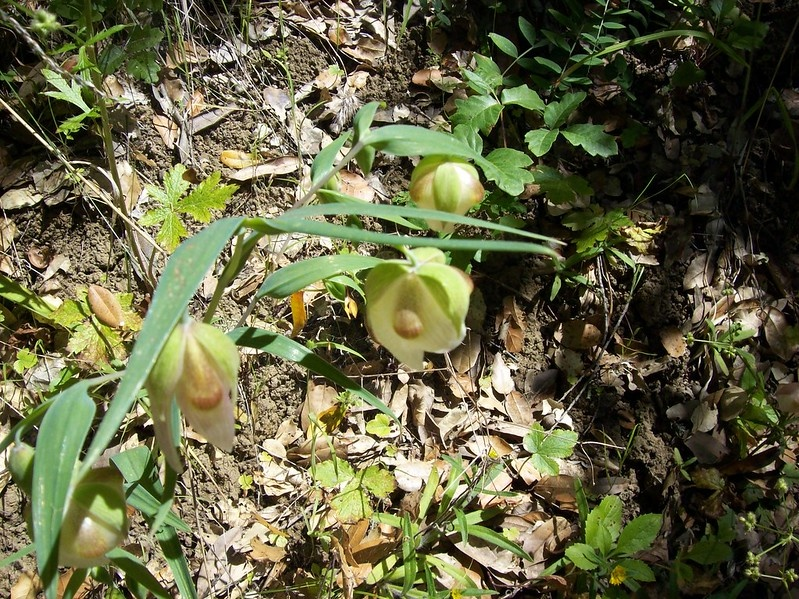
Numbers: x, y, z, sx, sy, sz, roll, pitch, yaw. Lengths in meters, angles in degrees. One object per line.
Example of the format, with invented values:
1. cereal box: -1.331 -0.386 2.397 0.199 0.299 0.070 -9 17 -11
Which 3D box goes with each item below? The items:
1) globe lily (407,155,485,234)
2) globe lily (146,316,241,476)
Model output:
1. globe lily: 0.181 -0.385 2.603 0.306 0.333 0.347 11 95 5
2. globe lily: -0.601 0.259 2.068 0.296 0.143 0.449 -19 98 4
